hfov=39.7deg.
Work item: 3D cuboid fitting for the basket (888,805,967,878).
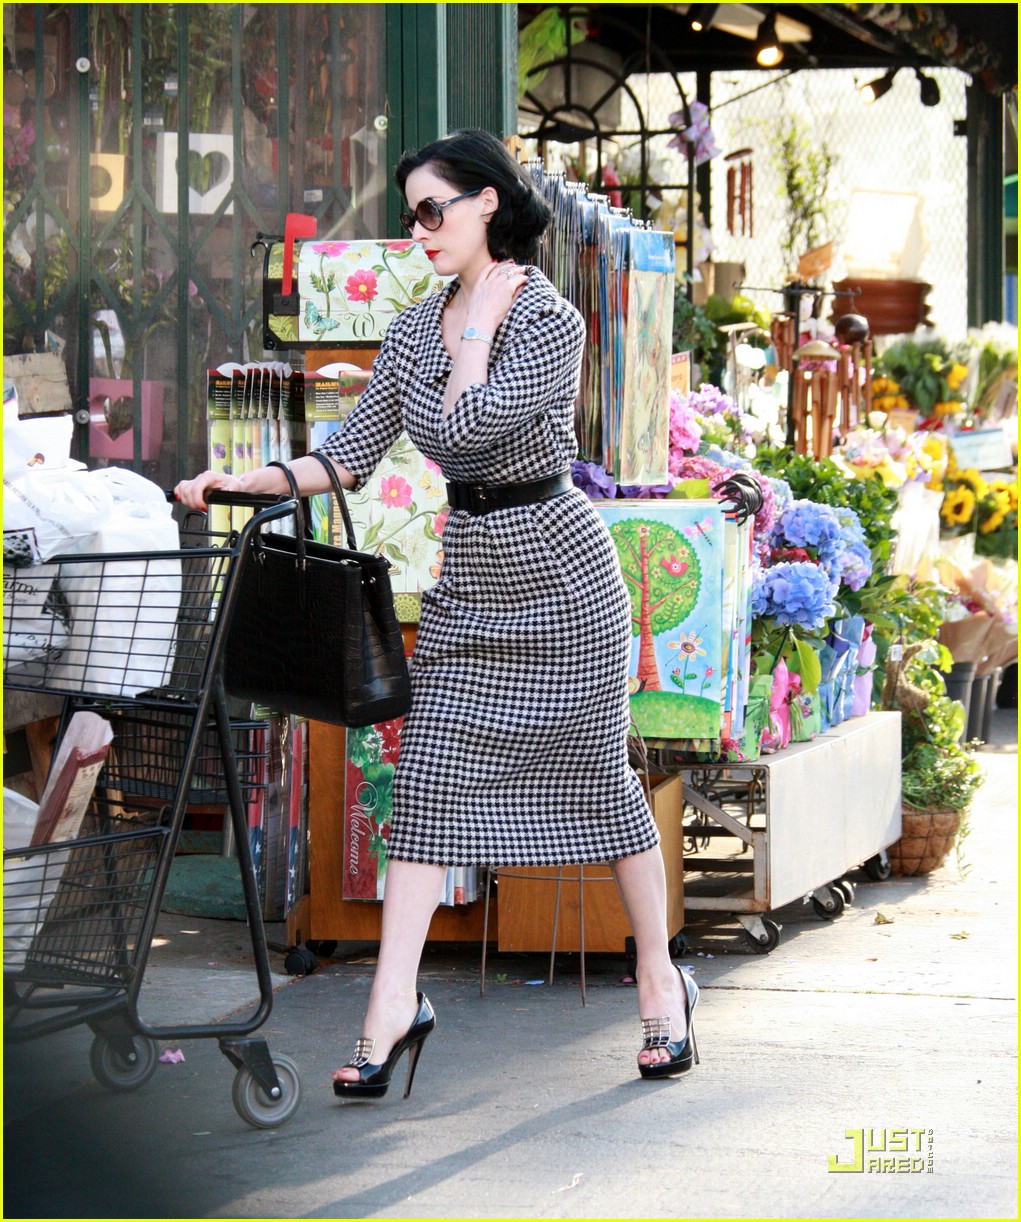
[{"bbox_3d":[1.413,0.789,4.770,0.300,0.222,0.119,1,-3,-23],"label":"basket"}]

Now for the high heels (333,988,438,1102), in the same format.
[{"bbox_3d":[-0.202,0.751,2.468,0.151,0.186,0.272,-2,-3,29],"label":"high heels"}]

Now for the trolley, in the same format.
[{"bbox_3d":[-0.611,0.276,2.377,0.592,1.078,0.617,-1,13,1],"label":"trolley"}]

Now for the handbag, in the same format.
[{"bbox_3d":[-0.307,0.012,2.246,0.301,0.341,0.206,0,-3,-7],"label":"handbag"}]

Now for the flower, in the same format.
[{"bbox_3d":[1.310,-0.495,5.517,1.485,1.978,0.914,4,-10,-19],"label":"flower"}]

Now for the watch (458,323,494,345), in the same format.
[{"bbox_3d":[-0.050,-0.452,2.335,0.055,0.033,0.036,0,-3,-8],"label":"watch"}]

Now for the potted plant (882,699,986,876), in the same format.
[{"bbox_3d":[1.456,0.624,4.899,0.346,0.644,0.346,6,12,27],"label":"potted plant"}]

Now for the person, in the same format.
[{"bbox_3d":[-0.128,-0.051,2.557,0.727,1.839,0.643,1,1,21],"label":"person"}]

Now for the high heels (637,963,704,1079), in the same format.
[{"bbox_3d":[0.291,0.751,2.579,0.135,0.151,0.245,1,1,6],"label":"high heels"}]
